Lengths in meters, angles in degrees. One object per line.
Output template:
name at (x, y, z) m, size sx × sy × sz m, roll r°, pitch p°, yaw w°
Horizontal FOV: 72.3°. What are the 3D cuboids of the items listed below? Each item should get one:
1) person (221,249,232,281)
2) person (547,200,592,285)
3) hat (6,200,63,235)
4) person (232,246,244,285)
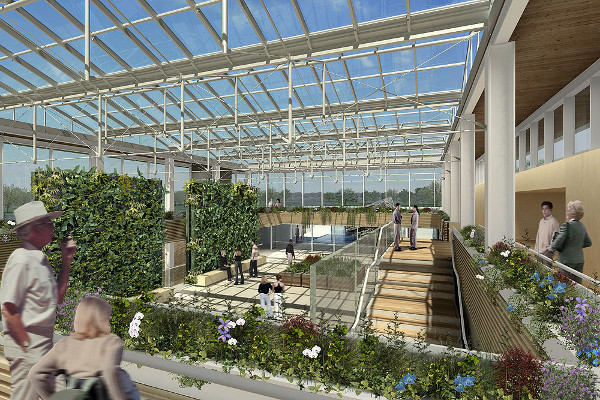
person at (-3.188, 2.730, 17.518) m, size 0.513 × 1.305 × 0.837 m, roll 1°, pitch -1°, yaw -9°
person at (5.110, 0.674, 7.663) m, size 0.659 × 1.309 × 0.316 m, roll 0°, pitch -1°, yaw 16°
hat at (-3.825, 0.171, 5.771) m, size 0.742 × 0.249 × 0.583 m, roll -22°, pitch 20°, yaw -16°
person at (-2.609, 2.761, 17.341) m, size 0.468 × 1.369 × 1.253 m, roll 1°, pitch -1°, yaw -8°
